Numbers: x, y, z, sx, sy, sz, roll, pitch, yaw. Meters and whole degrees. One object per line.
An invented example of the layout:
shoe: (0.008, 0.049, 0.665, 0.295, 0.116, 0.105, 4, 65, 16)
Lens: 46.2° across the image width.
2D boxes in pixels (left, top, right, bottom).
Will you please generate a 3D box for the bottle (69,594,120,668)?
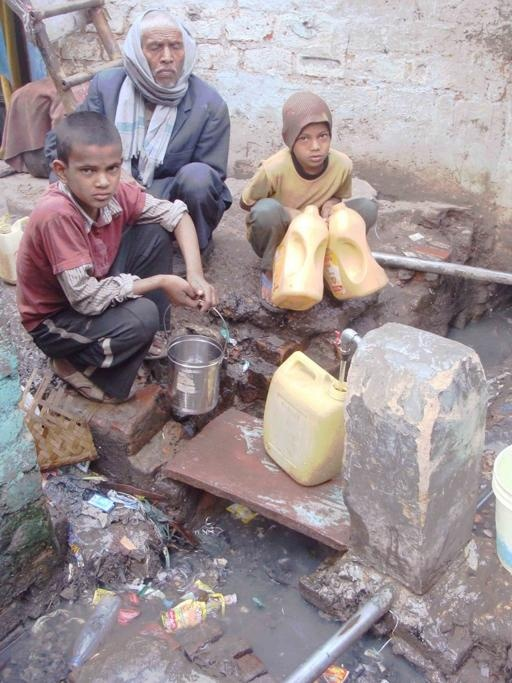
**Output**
bottle: (-0.590, 1.048, 2.190, 0.063, 0.053, 0.205, 13, 34, 12)

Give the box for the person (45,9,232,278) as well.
person: (-0.563, -1.089, 3.191, 0.997, 1.058, 0.780, 22, 41, 9)

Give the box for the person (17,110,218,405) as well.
person: (-0.572, -0.314, 2.515, 0.776, 1.203, 0.466, -14, 30, -35)

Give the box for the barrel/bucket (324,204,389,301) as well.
barrel/bucket: (0.459, -0.392, 2.781, 0.297, 0.444, 0.186, 10, 25, 15)

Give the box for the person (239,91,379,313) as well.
person: (0.240, -0.753, 2.978, 0.659, 0.852, 0.556, -10, 39, -16)

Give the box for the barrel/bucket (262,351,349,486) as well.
barrel/bucket: (0.196, 0.329, 2.390, 0.205, 0.490, 0.347, -20, 43, -28)

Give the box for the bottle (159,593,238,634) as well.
bottle: (-0.226, 1.029, 2.289, 0.259, 0.078, 0.095, -12, 33, -22)

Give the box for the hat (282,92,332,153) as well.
hat: (0.221, -1.029, 2.814, 0.165, 0.262, 0.276, -12, 27, -31)
